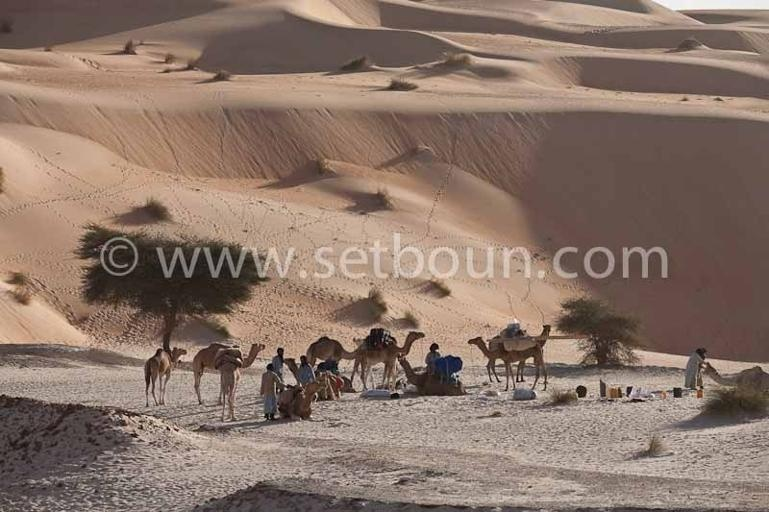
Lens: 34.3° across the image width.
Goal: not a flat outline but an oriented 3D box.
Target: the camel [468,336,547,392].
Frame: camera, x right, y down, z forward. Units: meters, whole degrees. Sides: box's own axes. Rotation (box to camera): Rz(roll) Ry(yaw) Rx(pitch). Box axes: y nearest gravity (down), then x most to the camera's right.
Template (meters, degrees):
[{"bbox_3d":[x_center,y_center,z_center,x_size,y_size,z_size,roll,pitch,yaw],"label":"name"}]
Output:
[{"bbox_3d":[5.566,4.279,52.238,2.255,2.693,3.414,5,-11,-21],"label":"camel"}]

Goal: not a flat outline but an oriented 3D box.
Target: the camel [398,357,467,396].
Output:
[{"bbox_3d":[1.979,5.005,51.113,2.521,1.314,1.105,-2,-2,-4],"label":"camel"}]

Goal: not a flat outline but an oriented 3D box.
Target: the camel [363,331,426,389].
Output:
[{"bbox_3d":[0.134,4.153,51.909,2.196,2.613,2.222,-4,3,-4],"label":"camel"}]

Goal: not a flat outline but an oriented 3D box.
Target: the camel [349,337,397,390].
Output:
[{"bbox_3d":[0.164,4.194,52.025,3.669,2.340,1.017,-1,2,16],"label":"camel"}]
